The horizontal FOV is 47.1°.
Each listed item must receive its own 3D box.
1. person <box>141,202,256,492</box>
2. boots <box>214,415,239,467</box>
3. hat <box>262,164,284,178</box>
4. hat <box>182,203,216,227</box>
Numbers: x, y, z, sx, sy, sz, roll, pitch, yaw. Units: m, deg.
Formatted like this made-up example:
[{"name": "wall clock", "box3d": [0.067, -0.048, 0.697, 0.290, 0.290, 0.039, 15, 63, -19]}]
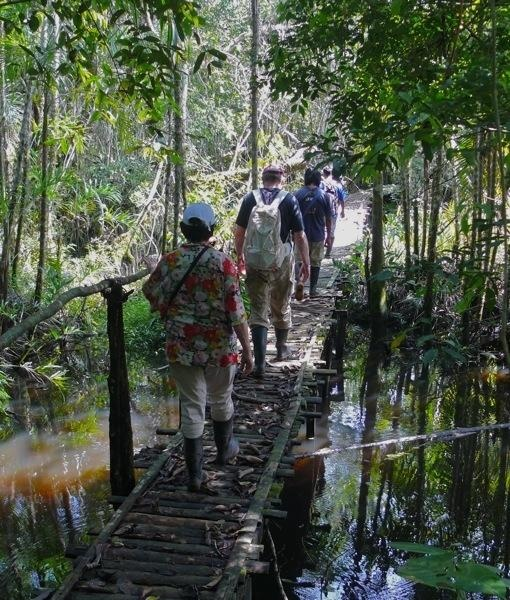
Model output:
[{"name": "person", "box3d": [-0.320, 0.298, 3.404, 0.628, 1.698, 0.463, -3, 14, -22]}, {"name": "boots", "box3d": [-0.204, 0.941, 3.892, 0.162, 0.326, 0.351, 0, -5, 11]}, {"name": "hat", "box3d": [0.148, -1.140, 5.169, 0.168, 0.107, 0.179, 2, 12, 3]}, {"name": "hat", "box3d": [-0.323, -0.475, 3.336, 0.128, 0.136, 0.170, 14, 28, 19]}]
